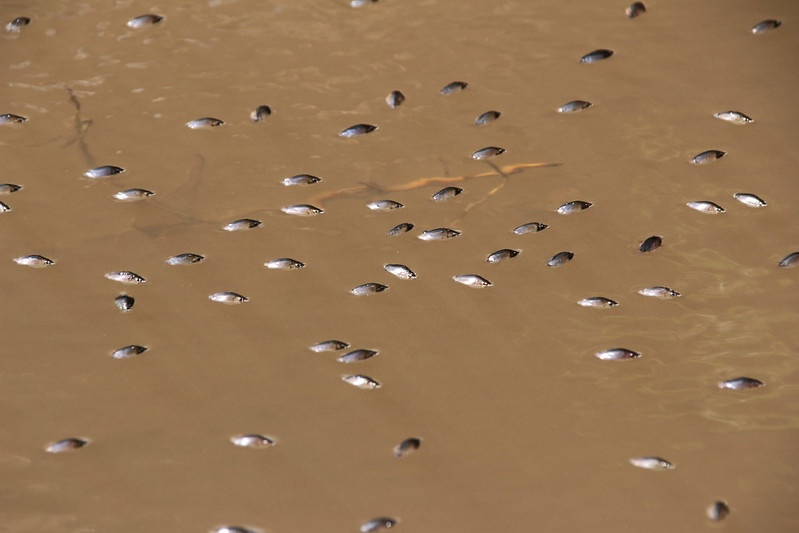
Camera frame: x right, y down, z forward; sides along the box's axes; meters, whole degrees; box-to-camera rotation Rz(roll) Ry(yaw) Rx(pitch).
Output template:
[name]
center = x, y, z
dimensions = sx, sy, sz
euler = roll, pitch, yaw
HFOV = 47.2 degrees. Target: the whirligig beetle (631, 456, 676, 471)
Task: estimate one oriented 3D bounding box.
[whirligig beetle]
center = 1.747, 1.383, 6.415
dimensions = 0.286, 0.082, 0.086
euler = 0, 35, 2
